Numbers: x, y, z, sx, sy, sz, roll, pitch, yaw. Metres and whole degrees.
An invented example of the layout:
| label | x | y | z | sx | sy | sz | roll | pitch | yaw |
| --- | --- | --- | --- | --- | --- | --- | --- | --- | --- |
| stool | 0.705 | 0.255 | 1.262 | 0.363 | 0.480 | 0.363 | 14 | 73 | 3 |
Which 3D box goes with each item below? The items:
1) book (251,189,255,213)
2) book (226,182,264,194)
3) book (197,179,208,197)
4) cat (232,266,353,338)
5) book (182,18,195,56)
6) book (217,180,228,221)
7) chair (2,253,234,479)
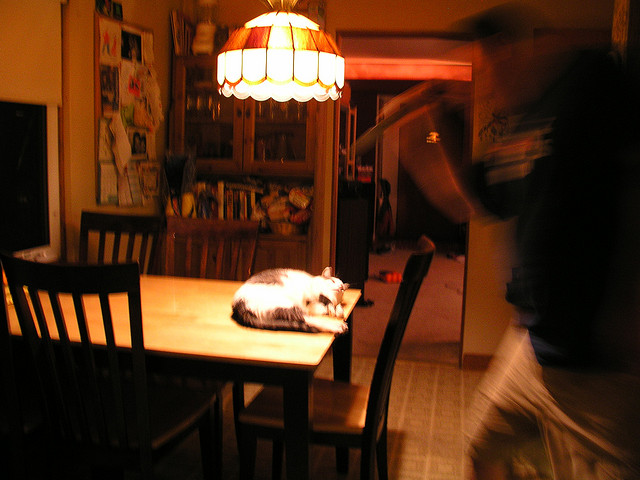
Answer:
| label | x | y | z | sx | sy | sz | roll | pitch | yaw |
| --- | --- | --- | --- | --- | --- | --- | --- | --- | --- |
| book | -0.452 | -0.269 | 3.864 | 0.032 | 0.144 | 0.021 | -8 | 2 | -6 |
| book | -0.519 | -0.355 | 3.899 | 0.252 | 0.083 | 0.068 | -11 | 1 | 24 |
| book | -0.825 | -0.354 | 3.939 | 0.074 | 0.125 | 0.034 | 5 | 0 | -23 |
| cat | -0.070 | 0.169 | 1.588 | 0.231 | 0.105 | 0.208 | 11 | 22 | 17 |
| book | -0.922 | -1.399 | 3.933 | 0.021 | 0.257 | 0.108 | -7 | 3 | 24 |
| book | -0.672 | -0.274 | 3.926 | 0.093 | 0.268 | 0.034 | -9 | 2 | -4 |
| chair | -0.564 | 0.322 | 1.570 | 0.493 | 0.632 | 0.806 | -10 | 2 | -26 |
